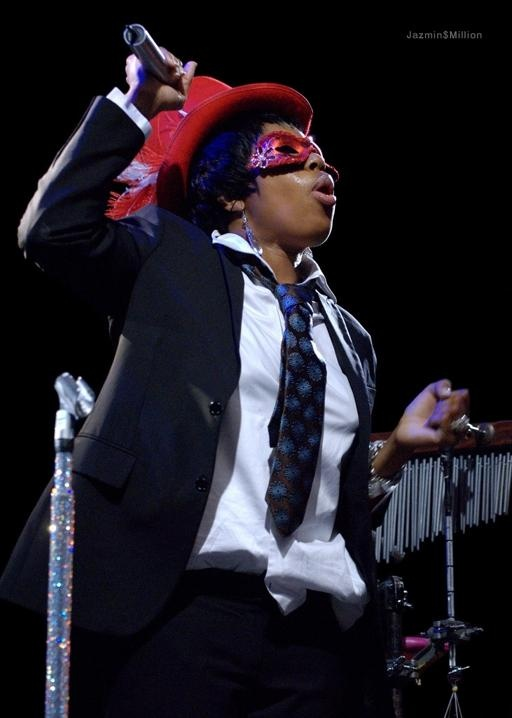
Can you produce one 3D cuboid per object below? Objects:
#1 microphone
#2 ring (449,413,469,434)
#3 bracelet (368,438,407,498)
[{"bbox_3d":[-0.189,-0.543,1.770,0.047,0.063,0.205,17,-16,23],"label":"microphone"},{"bbox_3d":[0.399,0.127,1.869,0.042,0.032,0.042,0,-2,0],"label":"ring"},{"bbox_3d":[0.289,0.236,2.114,0.112,0.114,0.047,7,13,14],"label":"bracelet"}]
